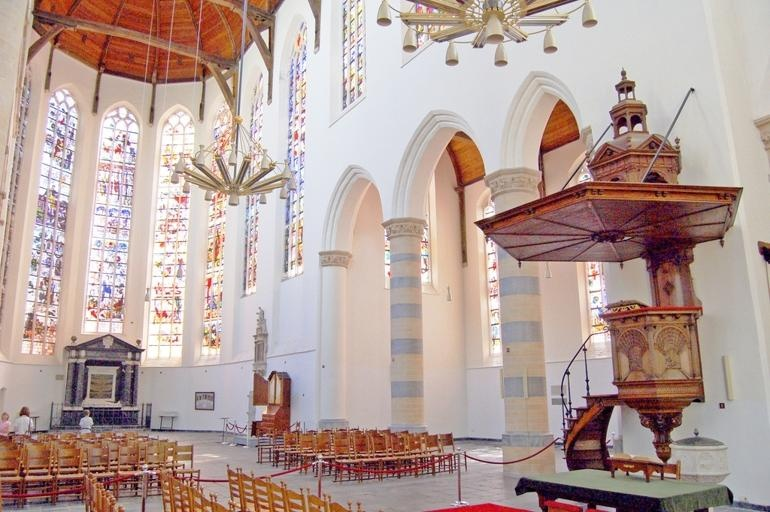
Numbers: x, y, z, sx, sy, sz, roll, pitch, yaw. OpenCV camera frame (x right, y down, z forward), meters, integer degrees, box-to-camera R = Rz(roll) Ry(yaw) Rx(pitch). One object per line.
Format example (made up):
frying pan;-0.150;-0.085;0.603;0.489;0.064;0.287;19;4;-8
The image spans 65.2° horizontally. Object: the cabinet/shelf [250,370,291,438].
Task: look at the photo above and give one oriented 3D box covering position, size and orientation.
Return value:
cabinet/shelf;-4.148;5.360;21.862;0.947;2.852;1.844;14;-23;-33
